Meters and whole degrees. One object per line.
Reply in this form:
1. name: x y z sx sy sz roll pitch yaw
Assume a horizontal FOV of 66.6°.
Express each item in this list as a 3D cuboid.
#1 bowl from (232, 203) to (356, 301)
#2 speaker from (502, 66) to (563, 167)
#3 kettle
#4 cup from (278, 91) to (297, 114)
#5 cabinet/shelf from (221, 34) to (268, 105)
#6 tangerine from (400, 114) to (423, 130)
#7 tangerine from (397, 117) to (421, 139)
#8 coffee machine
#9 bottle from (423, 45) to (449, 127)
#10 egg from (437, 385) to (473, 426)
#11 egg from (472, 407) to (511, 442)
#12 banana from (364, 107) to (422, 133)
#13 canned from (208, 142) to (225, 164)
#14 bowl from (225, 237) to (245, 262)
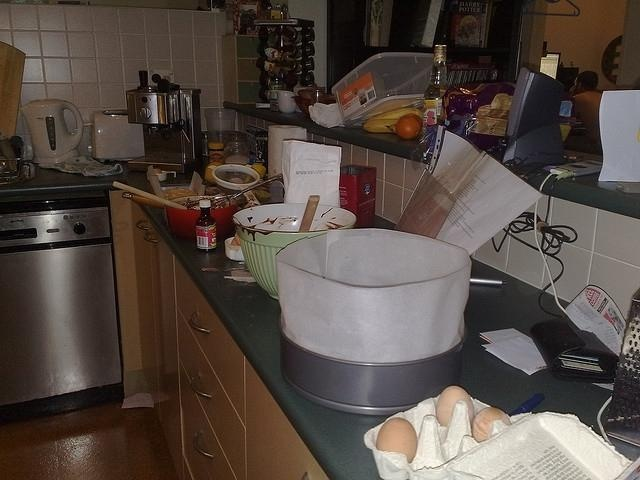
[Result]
1. bowl: -0.079 0.012 1.333 0.289 0.184 0.305 1 21 0
2. speaker: 0.518 -0.288 1.142 0.163 0.218 0.075 -8 23 -22
3. kettle: -1.398 -0.563 2.548 0.214 0.388 0.285 23 24 37
4. cup: -0.162 -0.692 2.431 0.100 0.099 0.108 1 21 0
5. cabinet/shelf: -0.466 -1.001 2.857 0.412 0.381 0.138 19 27 39
6. tangerine: 0.302 -0.391 1.600 0.057 0.049 0.063 4 20 -6
7. tangerine: 0.293 -0.367 1.595 0.073 0.076 0.069 0 -3 19
8. coffee machine: -0.768 -0.571 2.464 0.334 0.495 0.274 -5 24 -21
9. bottle: 0.344 -0.448 1.481 0.075 0.263 0.091 4 12 13
10. egg: 0.205 0.250 0.749 0.043 0.061 0.033 1 26 -10
11. egg: 0.253 0.272 0.718 0.053 0.034 0.061 12 24 25
12. banana: 0.253 -0.402 1.730 0.174 0.068 0.091 -5 -18 14
13. canned: -0.552 -0.469 2.579 0.082 0.106 0.201 -4 22 -12
14. bowl: -0.260 0.029 1.464 0.047 0.029 0.076 20 30 34
